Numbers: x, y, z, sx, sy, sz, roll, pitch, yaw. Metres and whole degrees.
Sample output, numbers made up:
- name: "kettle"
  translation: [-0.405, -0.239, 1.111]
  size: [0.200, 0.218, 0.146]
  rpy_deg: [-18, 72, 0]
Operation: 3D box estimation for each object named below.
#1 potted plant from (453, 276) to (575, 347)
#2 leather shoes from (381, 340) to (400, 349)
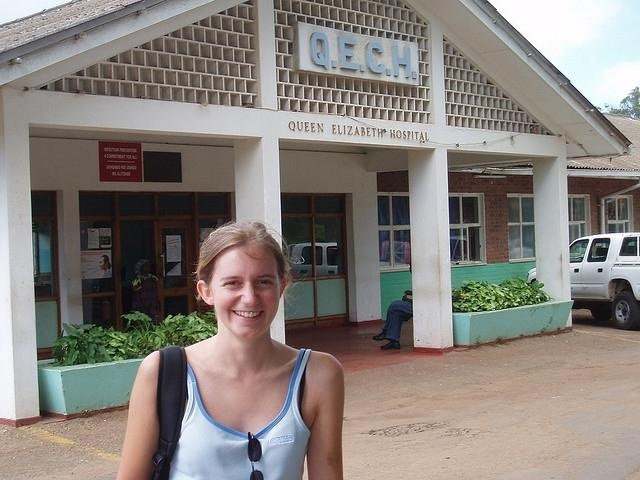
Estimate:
- name: "potted plant"
  translation: [4.501, 1.753, 13.436]
  size: [3.494, 1.322, 1.136]
  rpy_deg: [-1, 8, -38]
- name: "leather shoes"
  translation: [1.676, 2.455, 12.554]
  size: [0.479, 0.211, 0.180]
  rpy_deg: [4, -3, -3]
